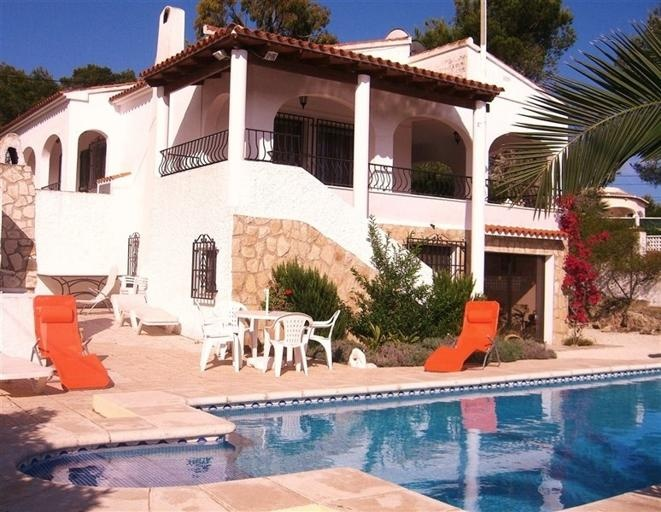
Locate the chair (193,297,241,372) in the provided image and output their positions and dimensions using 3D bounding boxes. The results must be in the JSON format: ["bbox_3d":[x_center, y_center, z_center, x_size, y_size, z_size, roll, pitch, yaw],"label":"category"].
[{"bbox_3d":[-2.068,1.500,12.400,0.962,1.628,1.152,0,2,-14],"label":"chair"}]

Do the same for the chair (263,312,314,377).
[{"bbox_3d":[-0.732,1.551,11.806,0.744,1.156,0.767,-1,7,-27],"label":"chair"}]

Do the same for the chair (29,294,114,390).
[{"bbox_3d":[-4.117,1.349,10.404,0.946,1.397,1.818,4,-5,-41],"label":"chair"}]

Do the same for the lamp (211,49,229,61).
[{"bbox_3d":[-2.358,-4.336,14.191,0.294,0.215,0.213,-26,-10,-42],"label":"lamp"}]

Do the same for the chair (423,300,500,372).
[{"bbox_3d":[2.581,1.451,12.706,0.827,1.679,2.217,-4,-17,32],"label":"chair"}]

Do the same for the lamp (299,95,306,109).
[{"bbox_3d":[-0.748,-4.145,17.935,0.195,0.323,0.208,3,-10,-41],"label":"lamp"}]

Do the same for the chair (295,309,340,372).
[{"bbox_3d":[-0.252,1.528,12.265,0.710,1.030,0.713,4,1,-28],"label":"chair"}]
